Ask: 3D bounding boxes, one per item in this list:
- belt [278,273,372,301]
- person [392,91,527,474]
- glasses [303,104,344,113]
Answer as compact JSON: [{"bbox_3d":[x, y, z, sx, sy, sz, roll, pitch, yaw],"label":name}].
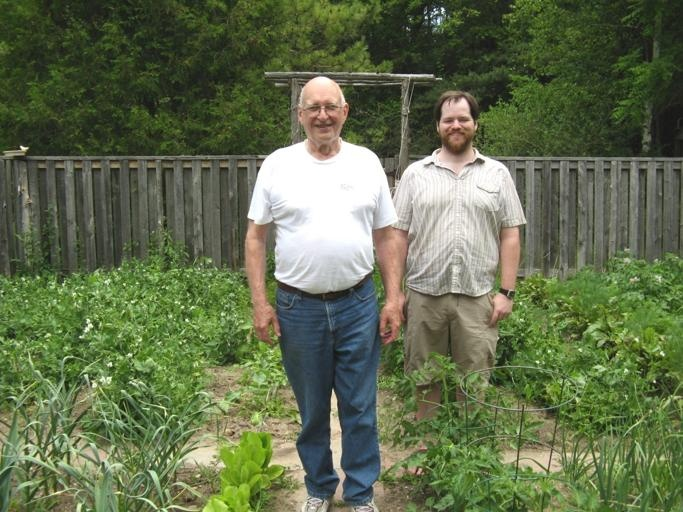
[{"bbox_3d":[-0.108,0.214,4.851,0.613,0.144,0.135,-2,5,-5],"label":"belt"},{"bbox_3d":[0.798,0.206,5.369,0.991,2.695,0.747,0,9,0],"label":"person"},{"bbox_3d":[-0.122,-0.932,4.771,0.231,0.059,0.049,-2,5,-5],"label":"glasses"}]
